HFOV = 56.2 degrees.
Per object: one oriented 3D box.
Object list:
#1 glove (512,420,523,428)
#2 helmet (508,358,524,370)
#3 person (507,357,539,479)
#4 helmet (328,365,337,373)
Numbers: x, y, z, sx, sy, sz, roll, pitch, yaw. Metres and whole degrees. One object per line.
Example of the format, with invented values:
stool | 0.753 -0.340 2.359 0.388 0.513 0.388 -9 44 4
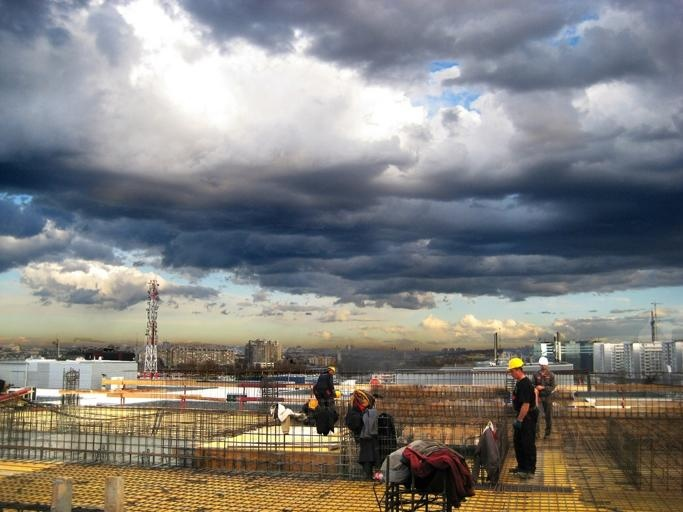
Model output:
glove | 3.748 3.630 13.728 0.147 0.198 0.289 2 -9 -19
helmet | 3.775 2.433 14.076 0.292 0.192 0.372 -3 4 -20
person | 3.960 3.503 13.909 0.590 2.537 0.823 -3 -9 14
helmet | -0.321 3.596 20.300 0.268 0.133 0.374 6 -15 5
